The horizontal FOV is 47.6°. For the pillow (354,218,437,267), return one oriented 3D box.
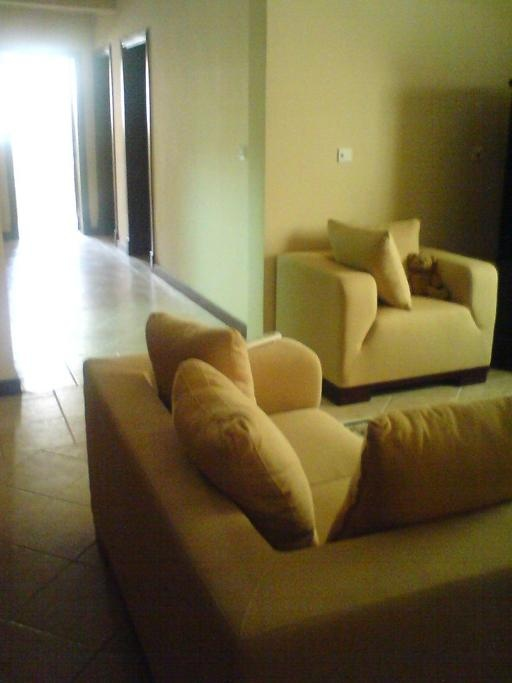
[{"bbox_3d":[0.654,-0.455,2.554,0.176,0.206,0.079,-9,-6,-24],"label":"pillow"}]

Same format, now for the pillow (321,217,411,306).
[{"bbox_3d":[0.415,-0.307,2.308,0.206,0.321,0.382,-12,19,-42],"label":"pillow"}]

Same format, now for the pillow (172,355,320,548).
[{"bbox_3d":[-0.003,0.198,0.783,0.149,0.220,0.288,-12,31,-14],"label":"pillow"}]

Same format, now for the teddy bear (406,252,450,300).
[{"bbox_3d":[0.720,-0.277,2.484,0.160,0.197,0.071,4,15,25],"label":"teddy bear"}]
